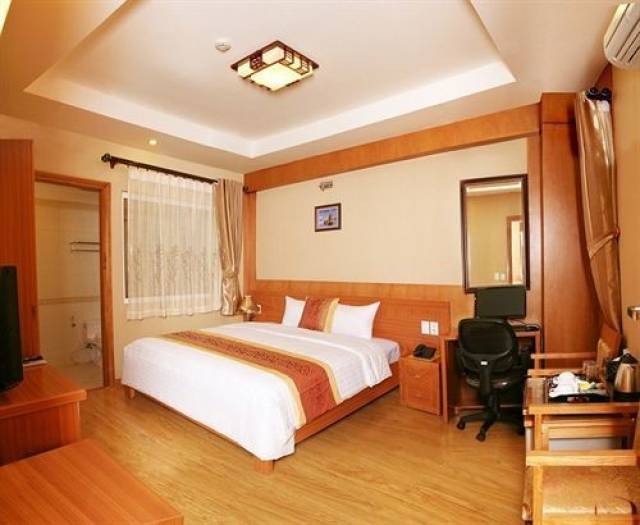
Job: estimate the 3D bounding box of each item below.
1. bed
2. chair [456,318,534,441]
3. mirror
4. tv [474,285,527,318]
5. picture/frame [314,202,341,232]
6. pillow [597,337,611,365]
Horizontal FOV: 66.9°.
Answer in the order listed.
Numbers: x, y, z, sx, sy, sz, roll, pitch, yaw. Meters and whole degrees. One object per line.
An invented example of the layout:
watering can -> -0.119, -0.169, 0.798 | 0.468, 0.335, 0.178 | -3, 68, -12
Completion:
bed -> 0.072, 0.954, 4.845 | 1.919, 0.825, 1.780 | 0, -1, 41
chair -> 1.549, 0.949, 4.330 | 0.574, 1.089, 0.794 | 8, 14, 40
mirror -> 1.733, -0.279, 4.862 | 0.703, 1.175, 0.305 | 4, 11, 22
tv -> 1.710, 0.358, 4.548 | 0.515, 0.295, 0.131 | -2, 11, -8
picture/frame -> 0.099, -0.576, 6.157 | 0.362, 0.320, 0.015 | 3, 4, 44
pillow -> 2.173, 0.683, 3.720 | 0.030, 0.216, 0.210 | 2, -1, 22
